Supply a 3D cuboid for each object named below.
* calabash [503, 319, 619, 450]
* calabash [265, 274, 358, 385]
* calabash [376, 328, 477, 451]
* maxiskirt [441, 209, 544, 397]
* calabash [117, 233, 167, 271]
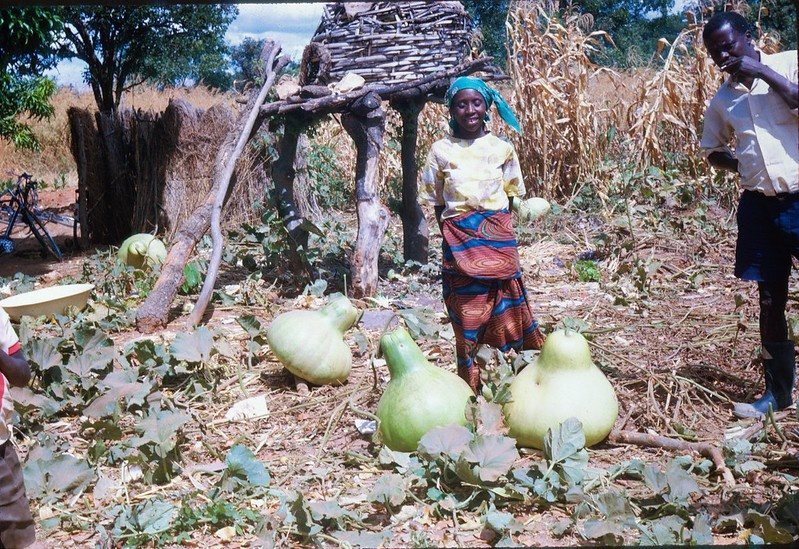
[{"bbox_3d":[1.026,0.666,4.592,0.639,0.756,0.779,20,14,20],"label":"calabash"},{"bbox_3d":[-0.626,0.467,5.468,0.744,0.674,0.699,33,-7,21],"label":"calabash"},{"bbox_3d":[0.162,0.728,4.410,0.598,0.700,0.385,0,13,-1],"label":"calabash"},{"bbox_3d":[0.754,0.146,4.939,0.718,1.169,0.329,-3,-2,24],"label":"maxiskirt"},{"bbox_3d":[-2.784,-0.228,7.588,0.503,0.344,0.475,-3,13,-16],"label":"calabash"}]
